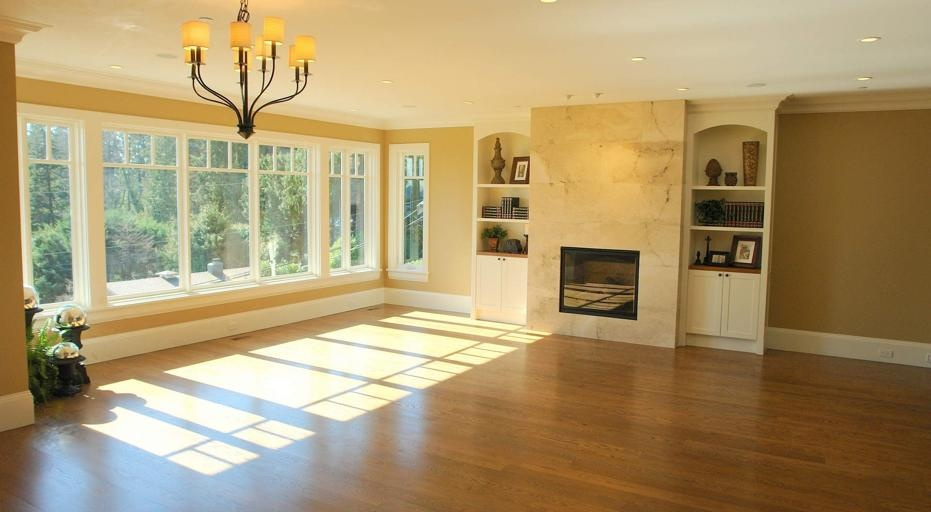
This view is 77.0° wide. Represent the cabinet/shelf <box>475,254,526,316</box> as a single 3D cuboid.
[{"bbox_3d":[0.696,0.524,10.990,1.390,1.104,0.569,1,0,27],"label":"cabinet/shelf"}]

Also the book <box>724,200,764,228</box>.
[{"bbox_3d":[4.565,-0.674,9.549,0.561,0.407,0.345,3,7,18],"label":"book"}]

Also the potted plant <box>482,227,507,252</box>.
[{"bbox_3d":[0.515,-0.313,11.448,0.621,0.513,0.479,1,-7,-3],"label":"potted plant"}]

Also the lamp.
[{"bbox_3d":[-2.902,-2.395,7.526,1.857,1.932,1.570,0,1,-28],"label":"lamp"}]

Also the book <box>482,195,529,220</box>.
[{"bbox_3d":[0.758,-0.916,11.242,0.880,0.416,0.421,1,7,9],"label":"book"}]

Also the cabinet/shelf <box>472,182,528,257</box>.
[{"bbox_3d":[0.887,-0.644,11.079,0.537,1.330,1.584,-4,7,-38],"label":"cabinet/shelf"}]

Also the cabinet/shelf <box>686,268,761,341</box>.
[{"bbox_3d":[4.154,0.850,9.770,1.403,1.109,0.477,6,-7,-13],"label":"cabinet/shelf"}]

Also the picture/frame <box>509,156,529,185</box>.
[{"bbox_3d":[1.026,-1.623,11.091,0.342,0.543,0.385,0,7,1],"label":"picture/frame"}]

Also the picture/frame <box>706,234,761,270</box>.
[{"bbox_3d":[4.486,-0.044,9.671,0.682,0.407,0.220,0,-2,41],"label":"picture/frame"}]
